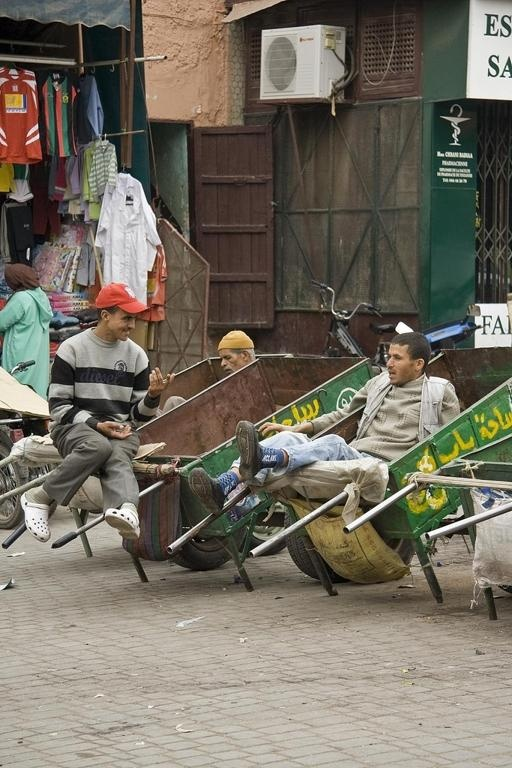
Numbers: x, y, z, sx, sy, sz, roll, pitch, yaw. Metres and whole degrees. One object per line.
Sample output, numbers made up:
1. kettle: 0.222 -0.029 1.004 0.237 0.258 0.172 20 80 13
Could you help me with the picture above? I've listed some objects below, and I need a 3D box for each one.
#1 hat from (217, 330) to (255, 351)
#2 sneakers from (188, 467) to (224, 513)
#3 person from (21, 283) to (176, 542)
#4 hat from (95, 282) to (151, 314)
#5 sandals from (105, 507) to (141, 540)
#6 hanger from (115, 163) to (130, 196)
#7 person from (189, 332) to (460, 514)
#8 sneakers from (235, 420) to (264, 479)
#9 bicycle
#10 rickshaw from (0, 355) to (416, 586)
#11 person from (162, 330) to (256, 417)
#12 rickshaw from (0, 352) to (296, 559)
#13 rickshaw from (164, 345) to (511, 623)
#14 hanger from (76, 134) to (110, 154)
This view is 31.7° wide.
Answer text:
1. hat: -0.122 -0.292 6.458 0.168 0.104 0.167 -3 3 -29
2. sneakers: -0.234 0.524 4.329 0.114 0.253 0.120 14 42 35
3. person: -0.763 0.124 4.929 0.745 1.349 0.659 -3 -2 38
4. hat: -0.734 -0.472 5.011 0.266 0.158 0.170 2 9 12
5. sandals: -0.656 0.707 4.567 0.106 0.217 0.106 -6 51 17
6. hanger: -1.423 -2.154 9.693 0.030 0.377 0.325 2 11 -40
7. person: 0.362 0.204 4.867 1.501 0.891 0.776 -9 6 -25
8. sneakers: -0.031 0.318 4.233 0.098 0.282 0.110 12 24 31
9. bicycle: 1.099 -0.732 11.422 0.826 1.001 1.338 -11 25 -35
10. rickshaw: -0.068 0.427 5.499 1.869 0.930 1.203 -25 21 -37
11. person: -0.296 -0.075 6.749 0.747 0.745 0.458 -12 3 -9
12. rickshaw: -0.522 0.309 5.586 1.091 0.542 2.308 1 26 34
13. rickshaw: 1.029 0.410 5.236 3.278 1.398 1.294 1 -3 -40
14. hanger: -1.724 -2.519 9.625 0.488 0.161 0.154 -3 -2 30
